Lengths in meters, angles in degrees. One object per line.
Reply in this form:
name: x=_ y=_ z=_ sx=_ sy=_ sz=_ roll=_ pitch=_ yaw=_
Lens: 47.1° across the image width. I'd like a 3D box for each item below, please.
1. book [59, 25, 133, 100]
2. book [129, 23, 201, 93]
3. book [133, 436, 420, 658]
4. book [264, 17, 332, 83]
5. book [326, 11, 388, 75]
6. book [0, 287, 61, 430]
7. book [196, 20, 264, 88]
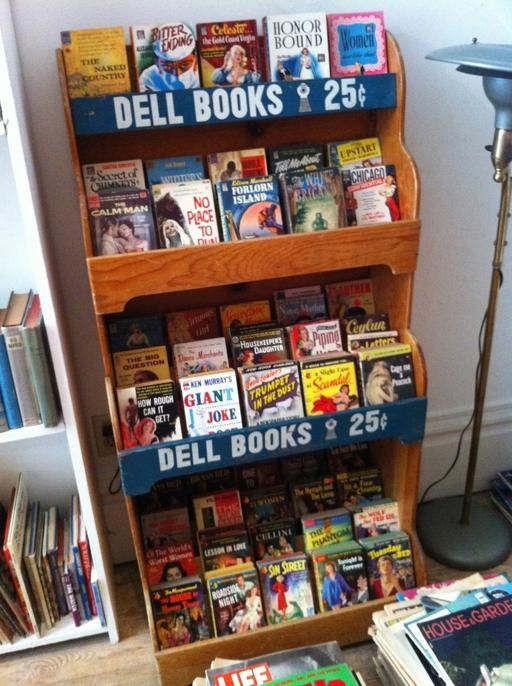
book: x=-0.392 y=-0.679 z=1.422 sx=0.150 sy=0.146 sz=0.119 roll=-8 pitch=28 yaw=-3
book: x=-0.227 y=-0.717 z=1.469 sx=0.155 sy=0.146 sz=0.068 roll=-10 pitch=28 yaw=-5
book: x=0.168 y=0.681 z=1.907 sx=0.826 sy=0.491 sz=0.586 roll=-9 pitch=43 yaw=-8
book: x=0.108 y=-0.775 z=1.534 sx=0.166 sy=0.153 sz=0.099 roll=-4 pitch=28 yaw=5
book: x=0.268 y=-0.799 z=1.566 sx=0.154 sy=0.148 sz=0.067 roll=-4 pitch=29 yaw=6
book: x=-0.569 y=0.056 z=1.486 sx=0.095 sy=0.259 sz=0.270 roll=-10 pitch=53 yaw=-3
book: x=-0.072 y=-0.751 z=1.517 sx=0.156 sy=0.145 sz=0.084 roll=-7 pitch=28 yaw=1
